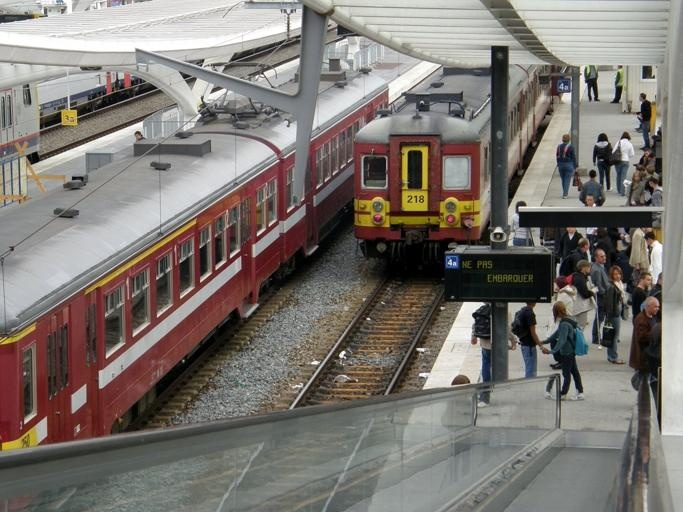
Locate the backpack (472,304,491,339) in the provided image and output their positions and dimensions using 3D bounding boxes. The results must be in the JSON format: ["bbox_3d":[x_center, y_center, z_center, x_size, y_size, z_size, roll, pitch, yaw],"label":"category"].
[{"bbox_3d":[2.427,1.107,12.196,0.303,0.468,0.497,14,-4,-17],"label":"backpack"}]

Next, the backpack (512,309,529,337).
[{"bbox_3d":[3.023,1.098,12.035,0.197,0.375,0.436,13,-4,-2],"label":"backpack"}]

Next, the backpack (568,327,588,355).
[{"bbox_3d":[3.944,1.406,11.803,0.224,0.327,0.409,10,-4,25],"label":"backpack"}]

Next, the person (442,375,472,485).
[{"bbox_3d":[0.995,1.387,6.056,0.246,0.489,0.887,12,-3,13],"label":"person"}]
